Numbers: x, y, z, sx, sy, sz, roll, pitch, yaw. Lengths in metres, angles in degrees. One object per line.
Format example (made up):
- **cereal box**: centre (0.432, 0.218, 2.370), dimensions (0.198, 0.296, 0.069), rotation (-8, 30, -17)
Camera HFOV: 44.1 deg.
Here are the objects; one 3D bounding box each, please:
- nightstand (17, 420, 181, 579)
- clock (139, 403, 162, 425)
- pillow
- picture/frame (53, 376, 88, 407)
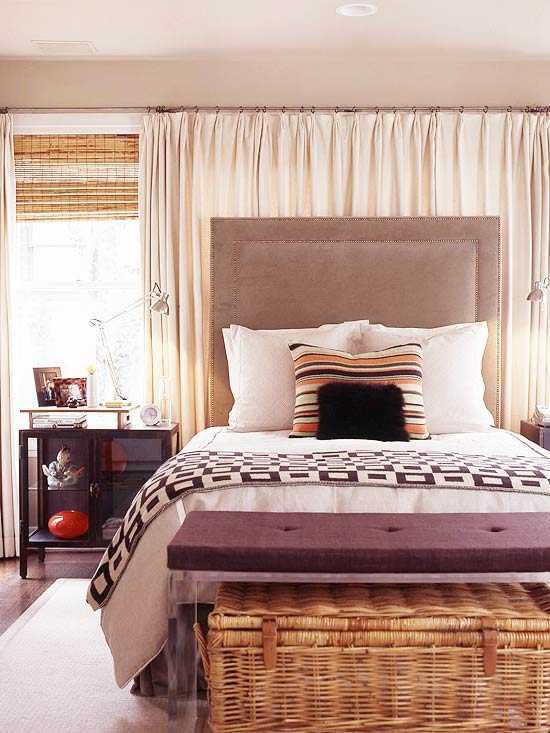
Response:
- **nightstand**: centre (-0.832, 0.610, 3.188), dimensions (0.659, 0.644, 0.267), rotation (0, -3, -8)
- **clock**: centre (-0.601, 0.226, 3.284), dimensions (0.089, 0.093, 0.030), rotation (13, -5, 1)
- **pillow**: centre (0.342, 0.196, 2.733), dimensions (0.316, 0.235, 0.090), rotation (-1, -16, 5)
- **picture/frame**: centre (-1.027, 0.131, 3.405), dimensions (0.152, 0.139, 0.136), rotation (-1, 2, -22)
